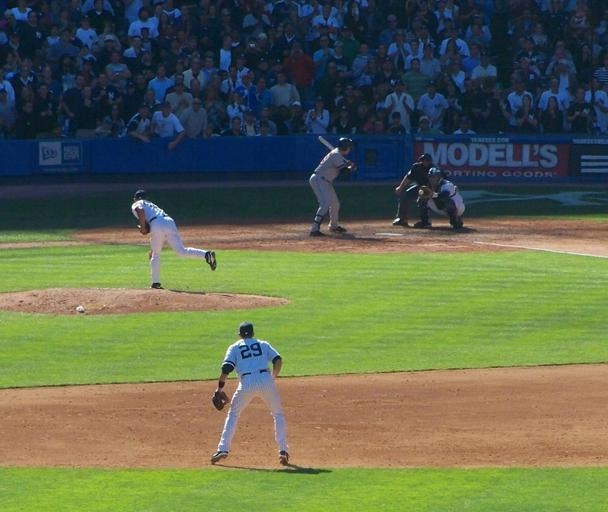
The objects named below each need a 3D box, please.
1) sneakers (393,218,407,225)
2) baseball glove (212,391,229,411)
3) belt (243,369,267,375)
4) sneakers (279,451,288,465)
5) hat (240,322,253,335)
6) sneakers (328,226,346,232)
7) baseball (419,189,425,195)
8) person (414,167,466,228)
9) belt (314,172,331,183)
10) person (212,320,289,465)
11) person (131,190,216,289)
[{"bbox_3d":[2.323,-0.877,40.727,0.284,0.170,0.159,6,7,15],"label":"sneakers"},{"bbox_3d":[-1.362,2.306,26.232,0.238,0.351,0.246,1,19,0],"label":"baseball glove"},{"bbox_3d":[-0.814,1.839,26.083,0.345,0.082,0.049,0,3,-8],"label":"belt"},{"bbox_3d":[-0.352,3.235,26.203,0.098,0.119,0.268,0,-36,5],"label":"sneakers"},{"bbox_3d":[-0.956,1.152,26.191,0.211,0.194,0.236,0,3,-7],"label":"hat"},{"bbox_3d":[0.746,-0.660,39.496,0.379,0.143,0.149,0,21,1],"label":"sneakers"},{"bbox_3d":[2.764,-1.562,39.395,0.096,0.099,0.118,-1,1,7],"label":"baseball"},{"bbox_3d":[3.195,-1.405,39.597,1.086,1.510,1.237,1,3,12],"label":"person"},{"bbox_3d":[0.384,-1.860,38.230,0.267,0.088,0.233,28,-2,-15],"label":"belt"},{"bbox_3d":[-0.889,2.202,26.148,1.208,2.289,0.390,0,3,0],"label":"person"},{"bbox_3d":[-2.779,-0.337,32.956,1.382,1.947,0.589,-2,4,-35],"label":"person"}]
